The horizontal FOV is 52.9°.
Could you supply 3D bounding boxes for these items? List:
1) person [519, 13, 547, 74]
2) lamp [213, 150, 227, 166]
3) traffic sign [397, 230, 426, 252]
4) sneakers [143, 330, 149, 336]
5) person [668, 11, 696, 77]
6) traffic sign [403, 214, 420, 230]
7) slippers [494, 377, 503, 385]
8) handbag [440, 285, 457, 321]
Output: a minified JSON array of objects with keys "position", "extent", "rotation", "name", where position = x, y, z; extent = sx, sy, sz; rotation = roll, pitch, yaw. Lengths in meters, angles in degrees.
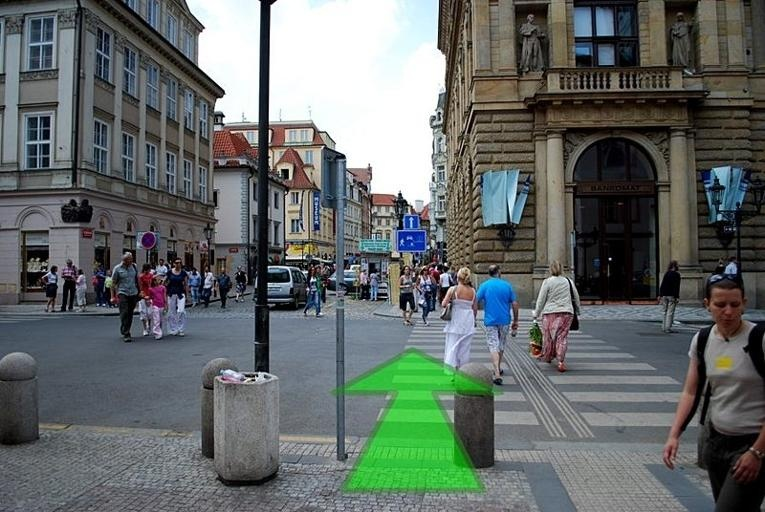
[{"position":[6.579,-9.225,33.781],"extent":[1.194,2.548,0.691],"rotation":[0,0,-16],"name":"person"},{"position":[-13.051,-7.795,61.793],"extent":[1.295,0.960,1.406],"rotation":[0,0,-1],"name":"lamp"},{"position":[1.226,-0.656,32.437],"extent":[0.864,0.676,0.117],"rotation":[0,3,16],"name":"traffic sign"},{"position":[-7.897,2.573,25.663],"extent":[0.125,0.162,0.376],"rotation":[0,-8,-9],"name":"sneakers"},{"position":[13.348,-9.439,34.250],"extent":[1.173,2.893,0.773],"rotation":[-1,0,-31],"name":"person"},{"position":[1.213,-1.443,32.438],"extent":[0.598,0.608,0.616],"rotation":[-1,-4,4],"name":"traffic sign"},{"position":[2.929,3.176,19.523],"extent":[0.205,0.162,0.369],"rotation":[0,0,9],"name":"slippers"},{"position":[1.662,1.235,19.523],"extent":[0.313,0.887,0.558],"rotation":[0,0,7],"name":"handbag"}]
